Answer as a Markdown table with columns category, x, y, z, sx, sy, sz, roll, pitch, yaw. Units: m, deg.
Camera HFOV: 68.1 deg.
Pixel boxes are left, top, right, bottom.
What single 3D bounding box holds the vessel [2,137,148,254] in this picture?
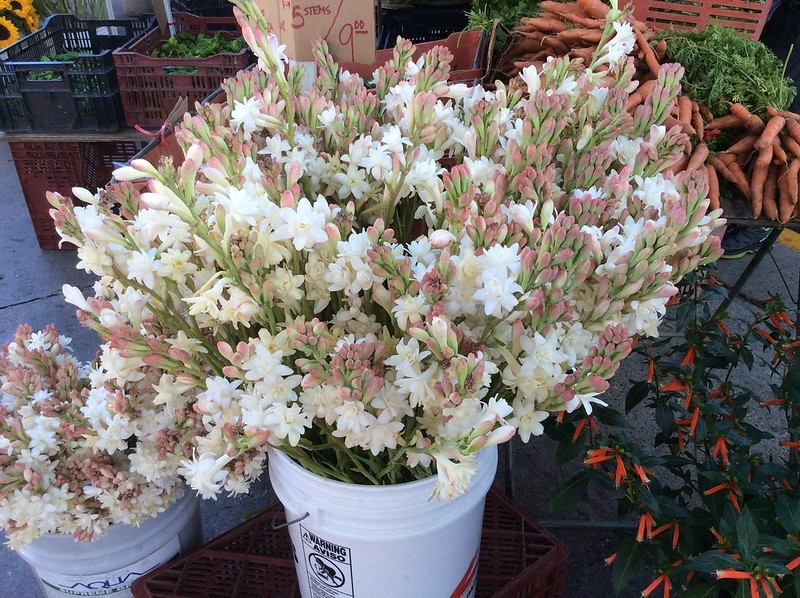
| category | x | y | z | sx | sy | sz | roll | pitch | yaw |
| --- | --- | --- | --- | --- | --- | --- | --- | --- | --- |
| vessel | -1.731 | -0.453 | 3.115 | 0.673 | 0.449 | 0.683 | 0 | 4 | -25 |
